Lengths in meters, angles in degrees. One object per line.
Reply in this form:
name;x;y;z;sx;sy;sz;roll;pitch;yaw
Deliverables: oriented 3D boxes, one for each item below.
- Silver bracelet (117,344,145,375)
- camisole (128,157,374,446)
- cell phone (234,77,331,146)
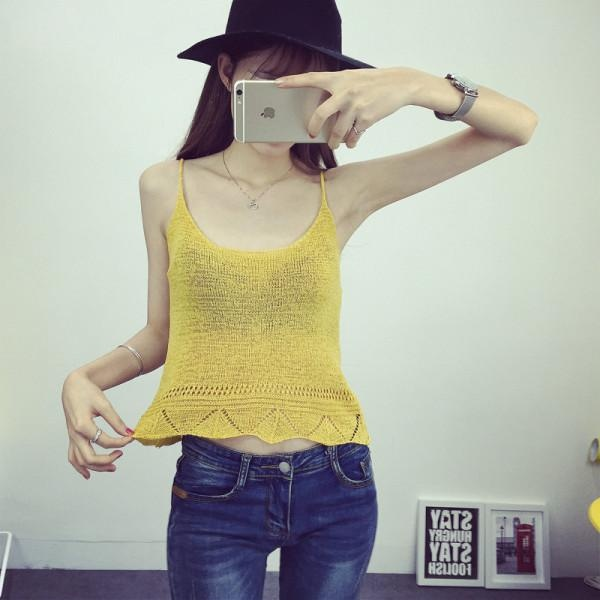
Silver bracelet;-0.296;0.101;1.308;0.014;0.052;0.054;-41;-9;4
camisole;-0.050;0.024;1.404;0.518;0.573;0.360;1;-18;-6
cell phone;-0.039;-0.329;1.250;0.134;0.022;0.231;-1;-13;-6
